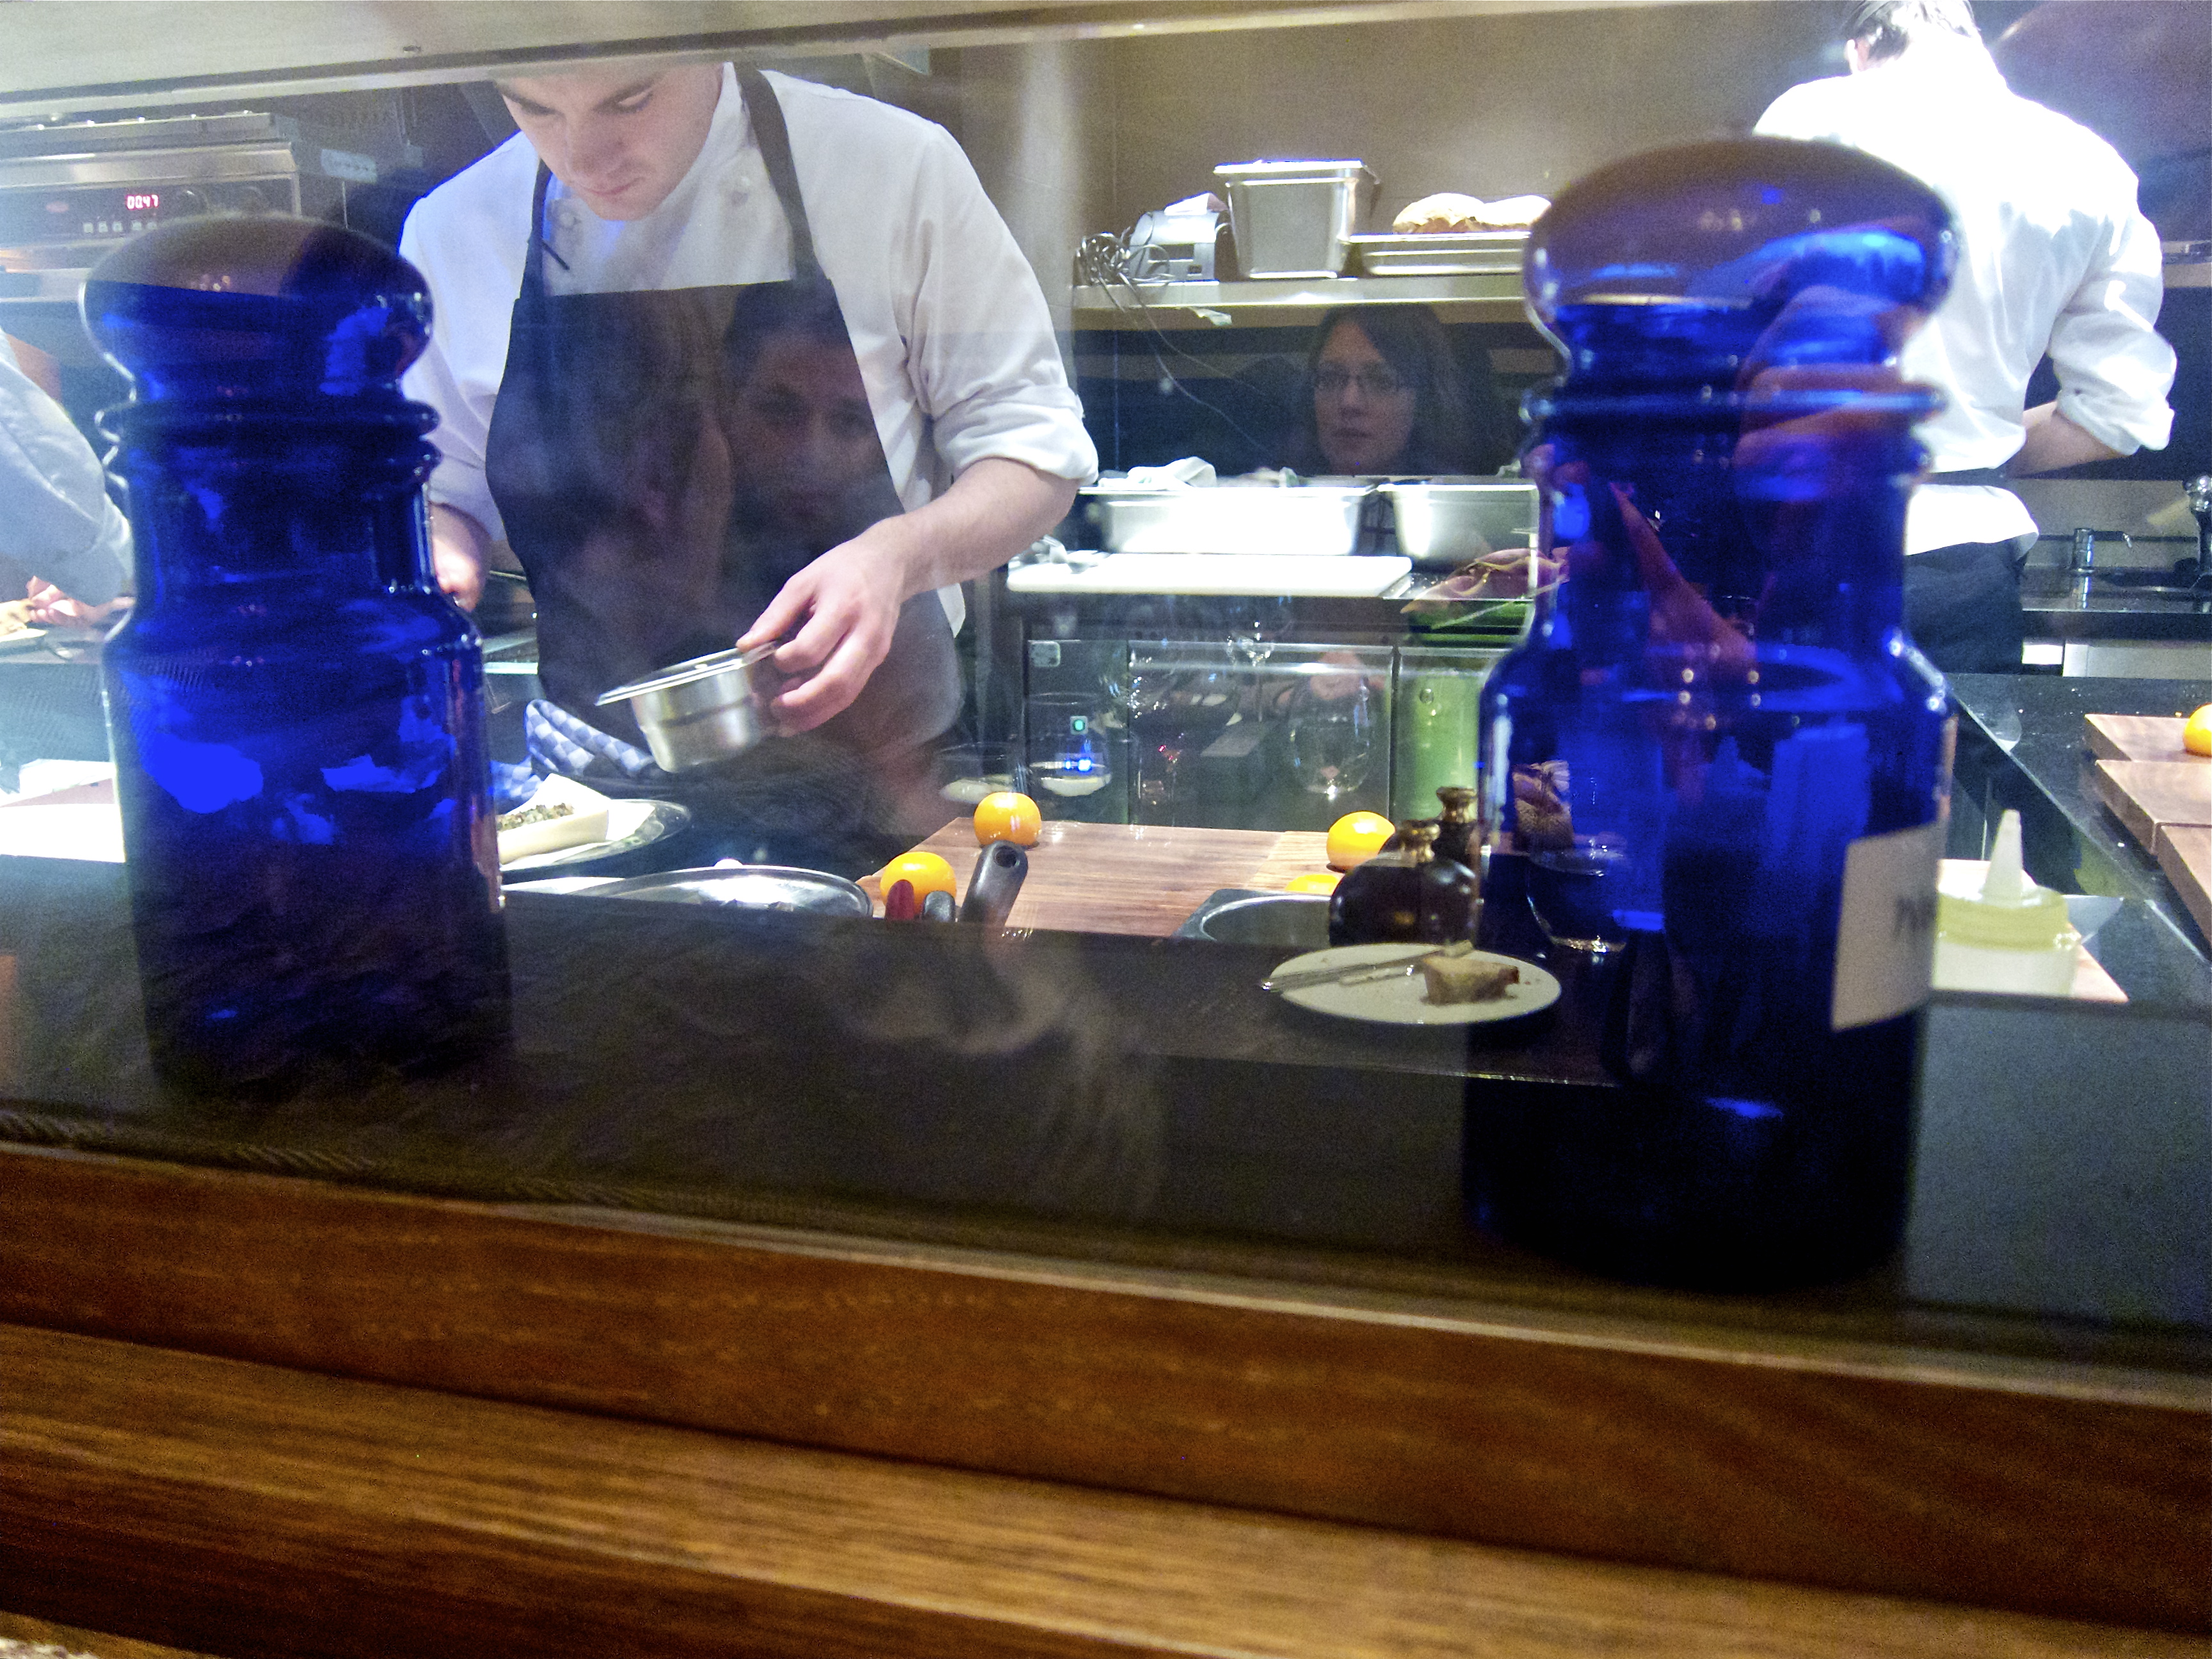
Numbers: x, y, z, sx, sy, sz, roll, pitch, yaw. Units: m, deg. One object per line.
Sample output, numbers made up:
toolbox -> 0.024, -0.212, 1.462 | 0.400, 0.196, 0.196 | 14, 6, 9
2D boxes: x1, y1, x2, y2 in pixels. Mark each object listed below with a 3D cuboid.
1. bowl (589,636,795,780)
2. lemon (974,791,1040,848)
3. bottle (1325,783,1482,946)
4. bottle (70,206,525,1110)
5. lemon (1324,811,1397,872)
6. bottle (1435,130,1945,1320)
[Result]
bowl -> -0.223, -0.066, 1.004 | 0.084, 0.043, 0.078 | -17, 4, 1
lemon -> -0.044, -0.005, 0.813 | 0.027, 0.024, 0.025 | 4, -1, -4
bottle -> 0.110, 0.014, 0.683 | 0.065, 0.058, 0.034 | 5, 8, 40
bottle -> -0.296, -0.056, 0.648 | 0.140, 0.295, 0.069 | -9, 18, -15
lemon -> 0.103, 0.002, 0.752 | 0.027, 0.018, 0.026 | -12, 13, -33
bottle -> 0.173, -0.029, 0.521 | 0.132, 0.320, 0.069 | -1, 17, 10
